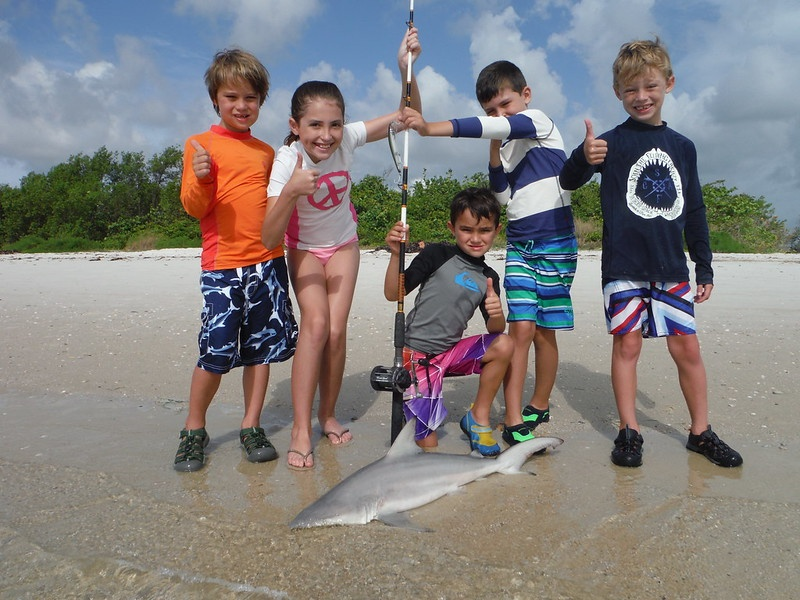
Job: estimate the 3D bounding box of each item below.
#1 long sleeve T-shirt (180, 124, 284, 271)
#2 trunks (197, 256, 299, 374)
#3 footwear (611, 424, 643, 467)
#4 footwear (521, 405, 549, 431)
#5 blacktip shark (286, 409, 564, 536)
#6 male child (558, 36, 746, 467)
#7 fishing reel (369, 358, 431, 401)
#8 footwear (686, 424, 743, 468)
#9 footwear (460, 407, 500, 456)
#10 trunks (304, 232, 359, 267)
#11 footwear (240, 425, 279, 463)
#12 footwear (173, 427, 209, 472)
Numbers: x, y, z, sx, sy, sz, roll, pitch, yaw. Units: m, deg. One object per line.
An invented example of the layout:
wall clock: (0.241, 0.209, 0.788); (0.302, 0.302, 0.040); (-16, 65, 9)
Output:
long sleeve T-shirt: (-0.996, -0.603, 3.544); (0.577, 0.833, 0.439); (-3, 12, -12)
trunks: (-0.901, 0.087, 3.547); (0.658, 0.769, 0.283); (-5, 4, -37)
footwear: (1.306, 0.843, 3.414); (0.166, 0.173, 0.237); (6, 14, 25)
footwear: (0.886, 0.776, 3.920); (0.099, 0.109, 0.235); (-3, 2, 43)
blacktip shark: (0.144, 0.916, 3.146); (1.510, 0.513, 0.434); (-5, -1, -25)
male child: (1.536, -0.309, 3.489); (0.726, 2.375, 0.722); (2, 12, 10)
fishing reel: (0.014, 0.456, 3.450); (0.320, 0.233, 0.195); (0, 6, 28)
footwear: (1.808, 0.831, 3.468); (0.113, 0.150, 0.319); (-18, 17, -18)
footwear: (0.456, 0.819, 3.615); (0.138, 0.121, 0.309); (-6, 41, -35)
trunks: (-0.449, -0.299, 3.749); (0.193, 0.223, 0.087); (-12, 51, -23)
footwear: (-0.824, 0.841, 3.492); (0.168, 0.133, 0.253); (-6, 14, -26)
footwear: (-1.202, 0.848, 3.455); (0.163, 0.165, 0.456); (-2, 11, -9)
